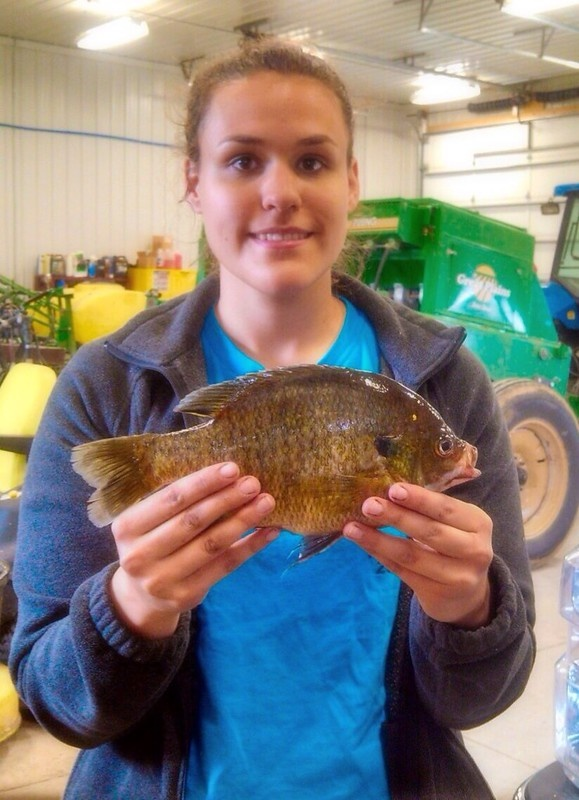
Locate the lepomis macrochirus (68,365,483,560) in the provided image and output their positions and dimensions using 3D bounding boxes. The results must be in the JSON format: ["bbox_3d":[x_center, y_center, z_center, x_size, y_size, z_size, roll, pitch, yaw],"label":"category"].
[{"bbox_3d":[0.001,0.090,0.852,0.547,0.237,0.131,-4,1,-5],"label":"lepomis macrochirus"}]
